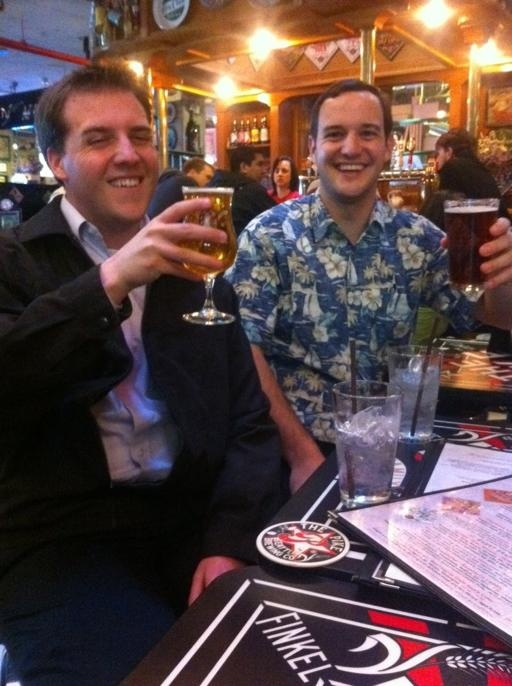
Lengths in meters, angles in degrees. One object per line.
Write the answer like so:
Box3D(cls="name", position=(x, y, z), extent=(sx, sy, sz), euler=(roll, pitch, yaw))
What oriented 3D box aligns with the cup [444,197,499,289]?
Box3D(cls="cup", position=(0.526, -0.244, 1.316), extent=(0.097, 0.219, 0.136), euler=(-6, 3, -5))
